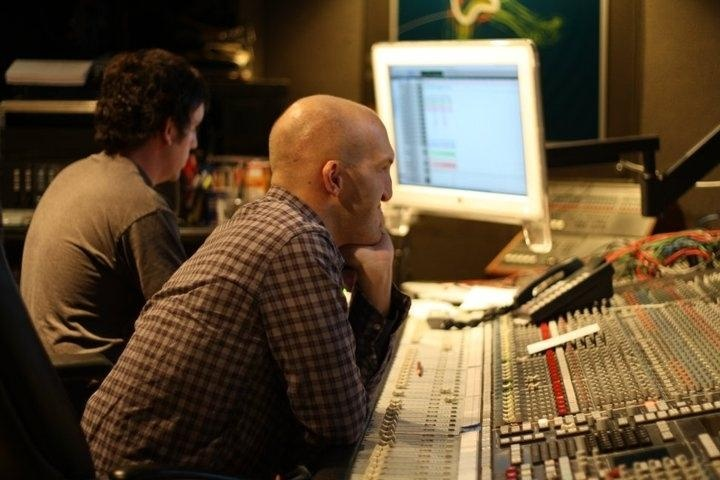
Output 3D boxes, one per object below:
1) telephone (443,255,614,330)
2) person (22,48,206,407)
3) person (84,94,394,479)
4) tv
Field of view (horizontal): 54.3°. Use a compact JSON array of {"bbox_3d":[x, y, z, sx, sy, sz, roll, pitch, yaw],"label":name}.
[{"bbox_3d":[0.574,0.104,2.361,0.459,0.159,0.259,-16,0,5],"label":"telephone"},{"bbox_3d":[-0.857,0.062,2.858,0.849,1.541,0.712,-1,12,-26],"label":"person"},{"bbox_3d":[-0.270,0.146,1.892,0.956,0.989,0.520,-10,18,-27],"label":"person"},{"bbox_3d":[0.391,-0.446,2.743,0.085,0.646,0.827,-19,20,-33],"label":"tv"}]
